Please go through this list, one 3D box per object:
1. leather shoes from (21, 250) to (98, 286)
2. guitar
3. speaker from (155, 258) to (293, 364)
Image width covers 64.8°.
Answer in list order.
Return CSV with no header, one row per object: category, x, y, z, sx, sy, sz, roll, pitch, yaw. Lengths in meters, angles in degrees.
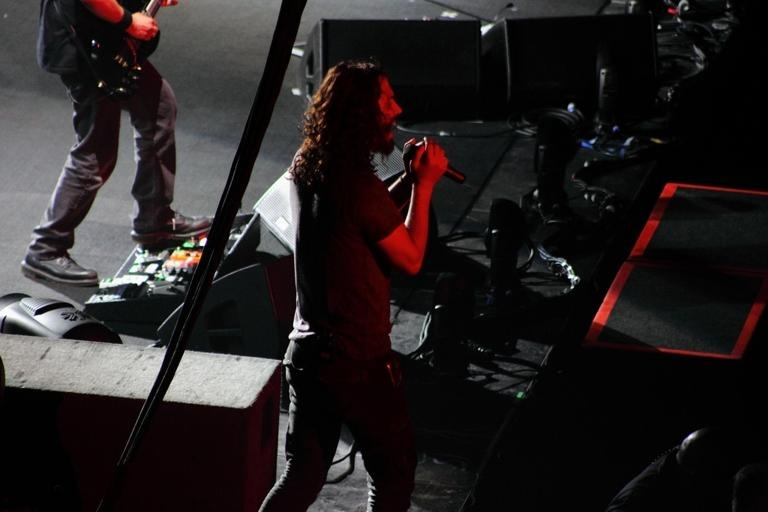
leather shoes,-2.288,0.079,4.419,0.603,0.254,0.216,7,9,-6
guitar,-1.874,-1.403,4.173,0.097,0.324,0.817,6,42,32
speaker,-0.817,0.322,3.232,0.567,0.477,0.719,5,3,4
